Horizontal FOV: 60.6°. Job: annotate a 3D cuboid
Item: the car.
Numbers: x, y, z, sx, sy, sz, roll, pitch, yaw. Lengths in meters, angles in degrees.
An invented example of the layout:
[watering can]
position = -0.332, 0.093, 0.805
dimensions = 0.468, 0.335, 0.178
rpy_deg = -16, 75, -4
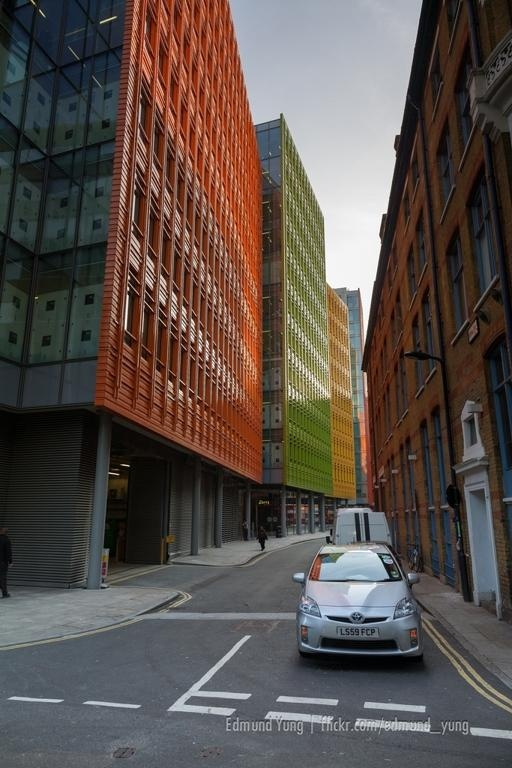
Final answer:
[car]
position = 1.464, 3.211, 6.363
dimensions = 0.885, 0.937, 2.067
rpy_deg = -4, -36, 8

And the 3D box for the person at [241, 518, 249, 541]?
[person]
position = -1.115, 15.231, 45.373
dimensions = 0.451, 1.618, 1.064
rpy_deg = -3, -14, 12
